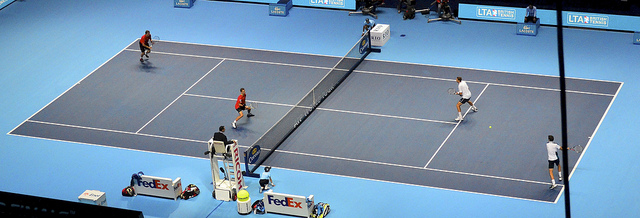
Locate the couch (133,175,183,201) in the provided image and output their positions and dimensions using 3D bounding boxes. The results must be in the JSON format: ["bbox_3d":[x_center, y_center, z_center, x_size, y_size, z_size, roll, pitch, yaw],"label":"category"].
[{"bbox_3d":[-16.945,8.197,60.738,5.834,2.177,1.648,1,8,33],"label":"couch"}]

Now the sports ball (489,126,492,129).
[{"bbox_3d":[18.584,2.004,63.235,0.295,0.268,0.102,13,-12,12],"label":"sports ball"}]

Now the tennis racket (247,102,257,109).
[{"bbox_3d":[-7.606,-0.458,65.473,0.680,0.577,0.923,17,-9,-13],"label":"tennis racket"}]
